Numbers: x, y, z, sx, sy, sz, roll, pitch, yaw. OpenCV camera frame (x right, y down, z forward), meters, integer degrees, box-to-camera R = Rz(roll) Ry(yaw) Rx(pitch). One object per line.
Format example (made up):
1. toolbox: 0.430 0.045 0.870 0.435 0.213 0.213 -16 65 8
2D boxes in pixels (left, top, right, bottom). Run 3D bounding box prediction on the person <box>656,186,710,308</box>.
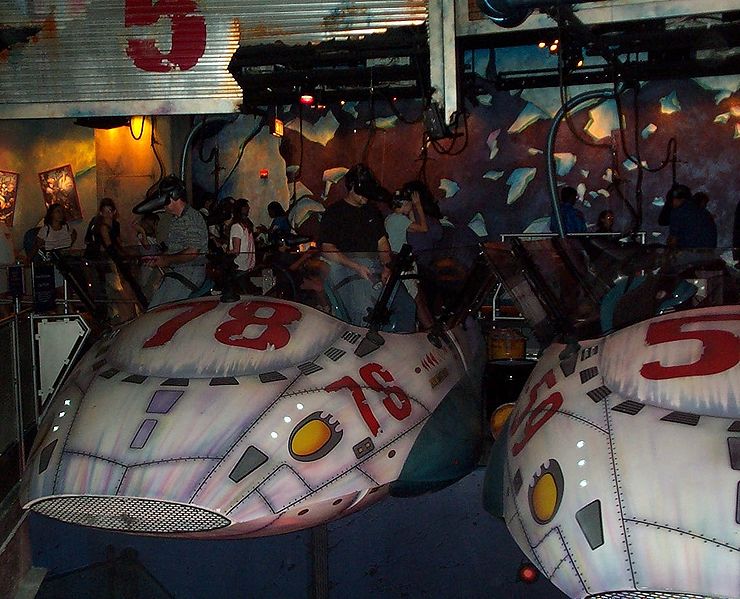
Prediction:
1. person: 3.178 -0.616 8.912 0.460 1.111 0.551 -26 30 -32
